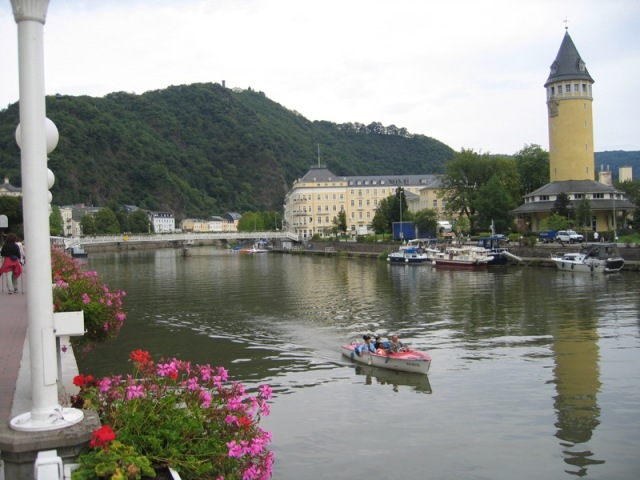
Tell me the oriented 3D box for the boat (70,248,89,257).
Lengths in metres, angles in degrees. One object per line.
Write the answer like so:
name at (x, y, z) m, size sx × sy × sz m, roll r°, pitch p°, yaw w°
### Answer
boat at (-43.976, 2.246, 126.906) m, size 3.104 × 1.958 × 5.522 m, roll 1°, pitch -1°, yaw -16°

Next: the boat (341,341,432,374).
boat at (2.698, 4.675, 27.624) m, size 1.006 × 1.121 × 4.219 m, roll -2°, pitch -1°, yaw -45°

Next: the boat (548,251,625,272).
boat at (23.798, 1.984, 61.809) m, size 2.246 × 1.814 × 6.256 m, roll -3°, pitch -1°, yaw -24°
